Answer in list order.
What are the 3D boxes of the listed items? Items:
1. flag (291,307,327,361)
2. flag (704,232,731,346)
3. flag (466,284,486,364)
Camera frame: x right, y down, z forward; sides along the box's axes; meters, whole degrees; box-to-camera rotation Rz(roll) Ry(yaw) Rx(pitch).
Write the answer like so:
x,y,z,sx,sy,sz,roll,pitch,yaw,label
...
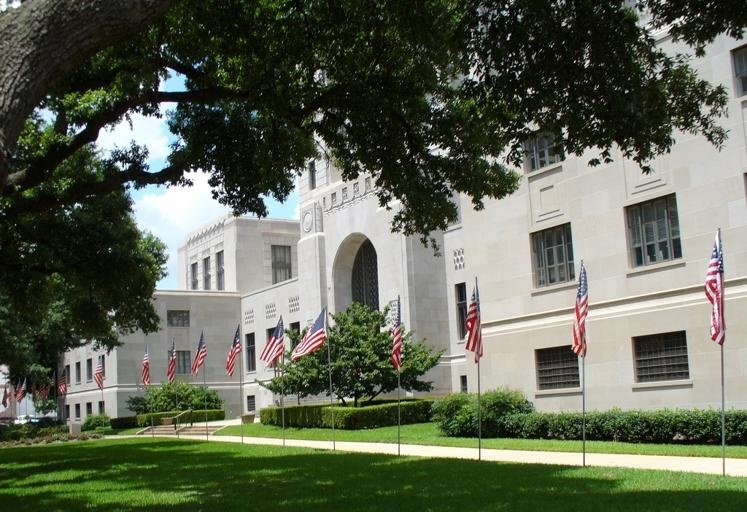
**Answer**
x,y,z,sx,sy,sz,roll,pitch,yaw,label
-2.600,3.063,31.338,1.239,2.288,2.748,0,-15,-4,flag
9.347,0.861,20.306,0.488,3.193,0.983,-7,-15,25,flag
3.438,2.204,24.690,0.701,3.107,0.455,11,31,20,flag
